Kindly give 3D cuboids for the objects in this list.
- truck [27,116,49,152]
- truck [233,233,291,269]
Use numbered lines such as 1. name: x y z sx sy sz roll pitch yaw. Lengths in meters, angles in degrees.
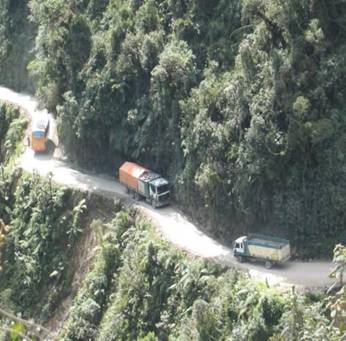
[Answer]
1. truck: -17.200 -4.613 109.598 1.299 2.204 6.423 2 41 -3
2. truck: 8.841 8.096 82.587 4.625 3.284 2.816 8 17 28
